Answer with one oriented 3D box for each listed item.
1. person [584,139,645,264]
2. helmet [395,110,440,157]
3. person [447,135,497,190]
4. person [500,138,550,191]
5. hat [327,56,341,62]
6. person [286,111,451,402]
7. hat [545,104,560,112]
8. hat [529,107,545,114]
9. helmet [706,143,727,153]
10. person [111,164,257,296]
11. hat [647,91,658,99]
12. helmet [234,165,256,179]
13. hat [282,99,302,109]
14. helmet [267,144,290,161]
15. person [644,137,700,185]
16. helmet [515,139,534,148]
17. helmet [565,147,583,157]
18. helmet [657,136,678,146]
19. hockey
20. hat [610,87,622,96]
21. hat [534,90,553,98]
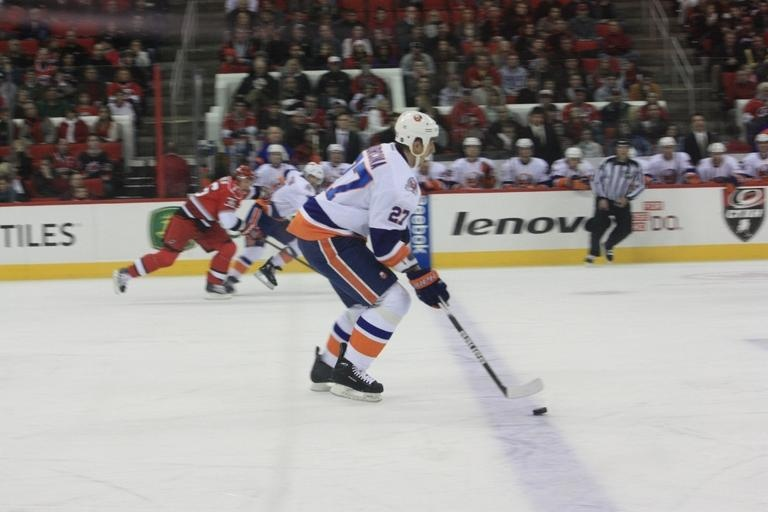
[{"bbox_3d":[2.969,-0.718,14.023,0.815,1.554,0.331,-2,7,-17],"label":"person"},{"bbox_3d":[0.308,-1.041,9.109,0.398,0.246,0.252,2,21,4],"label":"helmet"},{"bbox_3d":[1.207,-1.259,14.325,0.624,0.675,0.191,0,7,2],"label":"person"},{"bbox_3d":[1.908,-1.250,14.331,0.674,0.633,0.225,0,7,3],"label":"person"},{"bbox_3d":[-0.681,-2.695,14.703,0.210,0.064,0.251,-1,5,-7],"label":"hat"},{"bbox_3d":[-0.322,-0.010,9.273,1.804,2.341,1.250,2,5,-38],"label":"person"},{"bbox_3d":[2.307,-2.002,14.522,0.199,0.104,0.082,0,6,1],"label":"hat"},{"bbox_3d":[2.094,-1.969,14.435,0.190,0.083,0.098,0,6,1],"label":"hat"},{"bbox_3d":[4.494,-1.446,14.415,0.184,0.128,0.198,-4,-5,-4],"label":"helmet"},{"bbox_3d":[-2.199,-0.269,12.596,2.064,1.251,0.892,-5,2,-36],"label":"person"},{"bbox_3d":[3.769,-2.216,14.788,0.171,0.102,0.122,-4,11,-15],"label":"hat"},{"bbox_3d":[-1.632,-0.968,12.722,0.282,0.206,0.183,-1,25,-12],"label":"helmet"},{"bbox_3d":[-1.213,-2.015,14.257,0.309,0.169,0.203,0,6,6],"label":"hat"},{"bbox_3d":[-1.318,-1.331,13.738,0.317,0.167,0.203,-14,16,-25],"label":"helmet"},{"bbox_3d":[3.886,-1.259,14.464,0.848,0.562,0.411,-5,25,28],"label":"person"},{"bbox_3d":[1.911,-1.506,14.288,0.201,0.066,0.159,0,3,-5],"label":"helmet"},{"bbox_3d":[2.563,-1.388,14.322,0.240,0.144,0.317,1,5,8],"label":"helmet"},{"bbox_3d":[3.831,-1.539,14.386,0.228,0.133,0.174,1,5,9],"label":"helmet"},{"bbox_3d":[0.869,0.821,8.961,0.493,0.065,1.290,-30,57,-17],"label":"hockey"},{"bbox_3d":[3.193,-2.239,14.611,0.166,0.109,0.159,10,16,37],"label":"hat"},{"bbox_3d":[2.258,-2.243,14.783,0.210,0.119,0.254,0,5,5],"label":"hat"}]
